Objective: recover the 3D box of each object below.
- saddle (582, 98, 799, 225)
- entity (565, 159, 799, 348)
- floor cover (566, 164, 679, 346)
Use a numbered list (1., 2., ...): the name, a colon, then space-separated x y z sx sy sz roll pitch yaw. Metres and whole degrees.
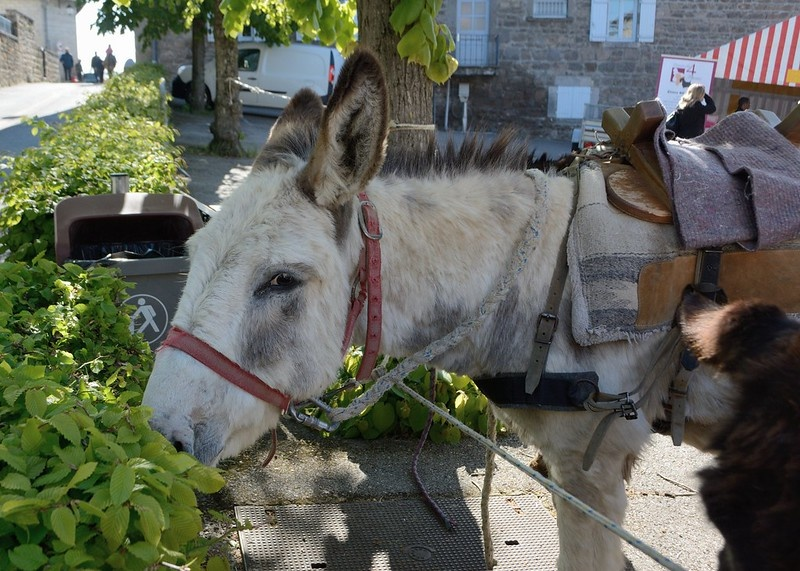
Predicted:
1. saddle: 1.310 -0.604 3.814 0.753 0.304 0.794 -17 35 -8
2. entity: 1.160 -0.143 3.525 0.698 0.294 0.761 0 22 2
3. floor cover: 0.922 -0.125 3.451 0.444 0.687 0.232 -4 -5 2
